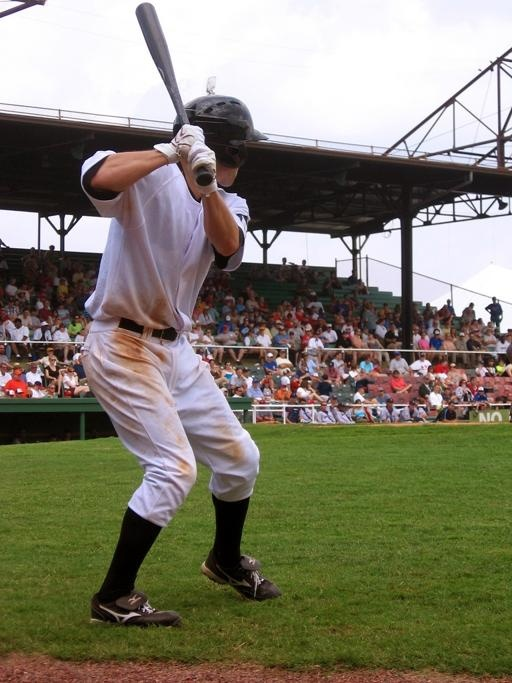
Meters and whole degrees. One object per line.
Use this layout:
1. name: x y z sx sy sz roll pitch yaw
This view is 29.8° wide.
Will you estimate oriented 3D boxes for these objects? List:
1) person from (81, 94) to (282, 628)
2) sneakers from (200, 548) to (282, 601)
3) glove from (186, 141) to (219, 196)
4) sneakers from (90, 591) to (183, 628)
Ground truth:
1. person: -0.351 0.158 4.003 0.756 2.106 0.959 5 -1 19
2. sneakers: -0.046 1.070 4.313 0.437 0.163 0.141 18 27 11
3. glove: -0.204 -0.664 3.670 0.117 0.197 0.172 5 0 -3
4. sneakers: -0.494 1.099 3.957 0.385 0.119 0.130 2 -12 -1
